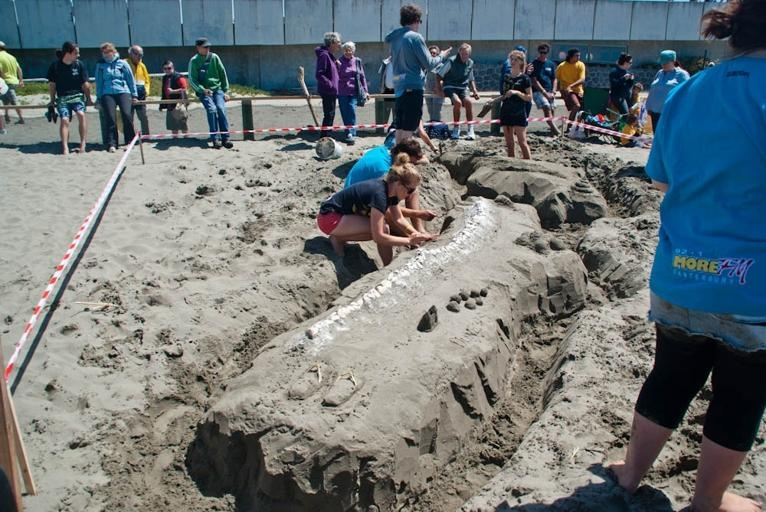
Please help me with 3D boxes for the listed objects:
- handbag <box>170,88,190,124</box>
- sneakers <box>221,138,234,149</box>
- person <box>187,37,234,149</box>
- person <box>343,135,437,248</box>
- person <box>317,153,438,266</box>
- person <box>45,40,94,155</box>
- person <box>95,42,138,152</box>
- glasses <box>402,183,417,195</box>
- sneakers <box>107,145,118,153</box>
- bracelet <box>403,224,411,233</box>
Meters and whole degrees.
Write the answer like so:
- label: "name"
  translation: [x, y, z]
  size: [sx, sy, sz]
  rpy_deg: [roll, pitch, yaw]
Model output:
- label: "handbag"
  translation: [-3.530, -2.609, 12.634]
  size: [0.579, 0.605, 0.234]
  rpy_deg: [5, 9, 29]
- label: "sneakers"
  translation: [-2.611, -1.926, 12.351]
  size: [0.159, 0.058, 0.162]
  rpy_deg: [10, 33, 6]
- label: "person"
  translation: [-2.821, -2.689, 12.002]
  size: [0.643, 1.764, 0.641]
  rpy_deg: [-4, 18, -13]
- label: "person"
  translation: [0.074, -0.799, 8.292]
  size: [1.279, 1.179, 0.784]
  rpy_deg: [3, 53, -10]
- label: "person"
  translation: [-0.086, -0.539, 7.837]
  size: [1.238, 1.196, 0.482]
  rpy_deg: [10, 20, 27]
- label: "person"
  translation: [-5.078, -2.597, 11.843]
  size: [0.644, 1.741, 0.803]
  rpy_deg: [-10, 20, -29]
- label: "person"
  translation: [-4.332, -2.625, 11.901]
  size: [0.639, 1.697, 0.605]
  rpy_deg: [14, 22, 38]
- label: "glasses"
  translation: [0.288, -0.710, 7.576]
  size: [0.093, 0.100, 0.030]
  rpy_deg: [5, 8, -26]
- label: "sneakers"
  translation: [-4.408, -1.775, 11.914]
  size: [0.144, 0.083, 0.146]
  rpy_deg: [6, 31, 10]
- label: "bracelet"
  translation: [0.278, -0.313, 7.893]
  size: [0.052, 0.071, 0.071]
  rpy_deg: [3, -12, -5]
